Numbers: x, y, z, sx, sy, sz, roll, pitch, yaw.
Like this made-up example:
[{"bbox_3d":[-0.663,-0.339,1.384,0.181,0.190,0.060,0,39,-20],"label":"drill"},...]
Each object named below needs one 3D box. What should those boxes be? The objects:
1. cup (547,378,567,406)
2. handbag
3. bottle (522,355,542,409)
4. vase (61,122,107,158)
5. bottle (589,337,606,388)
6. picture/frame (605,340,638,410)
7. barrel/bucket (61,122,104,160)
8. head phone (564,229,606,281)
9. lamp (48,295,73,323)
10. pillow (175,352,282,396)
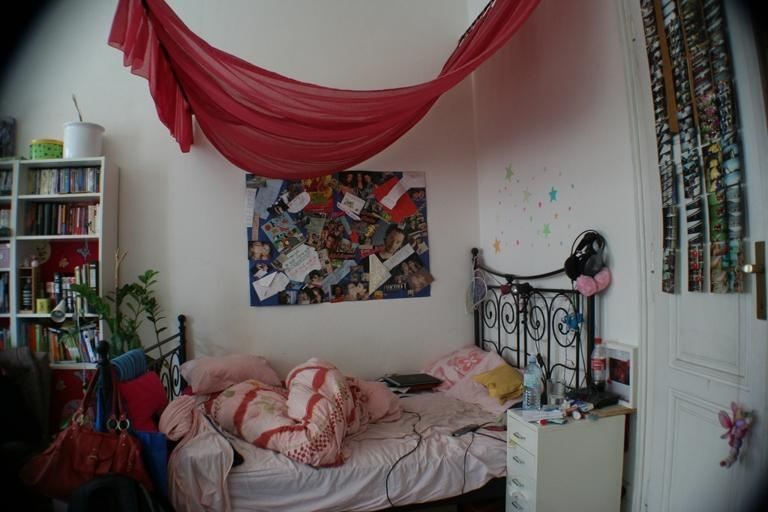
[{"bbox_3d":[1.076,0.874,3.376,0.095,0.163,0.161,1,-5,-9],"label":"cup"},{"bbox_3d":[-1.679,1.022,3.028,0.763,0.822,0.261,8,-3,-8],"label":"handbag"},{"bbox_3d":[0.931,0.809,3.368,0.116,0.215,0.220,0,0,16],"label":"bottle"},{"bbox_3d":[-2.347,-0.880,4.166,0.244,0.277,0.264,-1,-1,4],"label":"vase"},{"bbox_3d":[1.362,0.680,3.395,0.097,0.239,0.063,0,0,11],"label":"bottle"},{"bbox_3d":[1.464,0.737,3.320,0.047,0.315,0.208,0,0,-29],"label":"picture/frame"},{"bbox_3d":[-2.280,-0.866,4.133,0.284,0.278,0.284,0,4,0],"label":"barrel/bucket"},{"bbox_3d":[1.341,-0.002,3.590,0.156,0.356,0.280,21,-17,-17],"label":"head phone"},{"bbox_3d":[-2.360,0.412,3.917,0.105,0.197,0.382,0,0,-28],"label":"lamp"},{"bbox_3d":[-1.133,0.857,3.949,0.436,0.139,0.351,7,2,-33],"label":"pillow"}]
